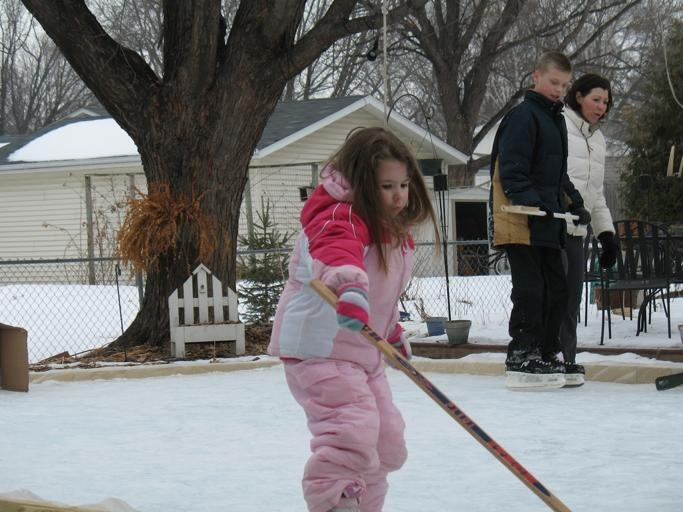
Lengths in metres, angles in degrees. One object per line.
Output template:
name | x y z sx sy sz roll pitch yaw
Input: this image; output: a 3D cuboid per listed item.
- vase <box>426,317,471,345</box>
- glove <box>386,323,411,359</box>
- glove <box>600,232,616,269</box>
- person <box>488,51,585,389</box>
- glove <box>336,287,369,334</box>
vase | 0.996 0.647 8.684 0.247 0.148 0.280 1 -9 -6
glove | 0.339 0.436 5.362 0.109 0.206 0.141 -21 -9 -10
glove | 2.036 -0.048 7.361 0.089 0.245 0.170 1 -8 25
person | 1.437 -0.268 7.110 0.677 2.447 0.480 -1 -4 8
glove | 0.056 0.266 4.808 0.157 0.214 0.080 9 -4 -7
